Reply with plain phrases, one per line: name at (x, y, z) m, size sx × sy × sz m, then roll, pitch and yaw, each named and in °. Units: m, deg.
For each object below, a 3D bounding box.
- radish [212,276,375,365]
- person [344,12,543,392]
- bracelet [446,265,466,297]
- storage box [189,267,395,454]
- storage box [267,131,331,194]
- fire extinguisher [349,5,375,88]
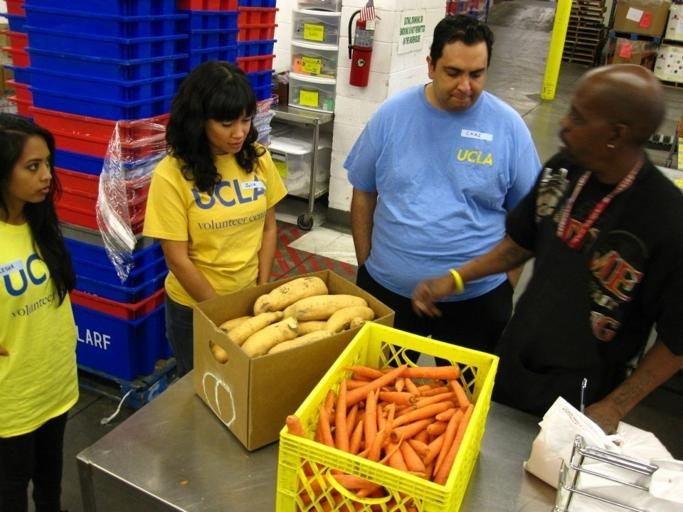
radish at (-0.169, 0.214, 1.835) m, size 0.419 × 0.137 × 0.299 m, roll -21°, pitch 30°, yaw -33°
person at (0.451, -0.298, 2.784) m, size 0.839 × 1.862 × 0.850 m, roll 1°, pitch 24°, yaw 2°
bracelet at (0.486, 0.105, 2.198) m, size 0.035 × 0.097 × 0.071 m, roll -13°, pitch 24°, yaw -8°
storage box at (-0.139, 0.331, 1.883) m, size 0.590 × 0.586 × 0.654 m, roll -13°, pitch 26°, yaw -32°
storage box at (-0.480, -1.041, 6.004) m, size 0.731 × 0.457 × 0.752 m, roll 25°, pitch 33°, yaw 28°
fire extinguisher at (0.181, -2.127, 5.127) m, size 0.197 × 0.790 × 0.168 m, roll 3°, pitch 28°, yaw 11°
